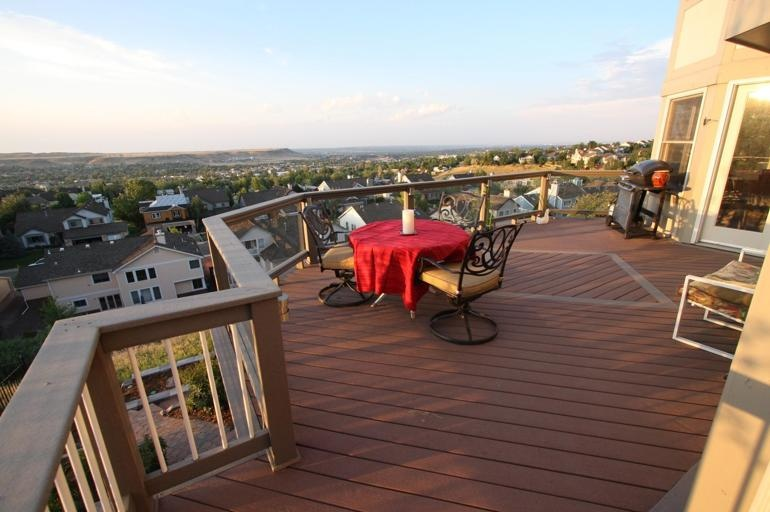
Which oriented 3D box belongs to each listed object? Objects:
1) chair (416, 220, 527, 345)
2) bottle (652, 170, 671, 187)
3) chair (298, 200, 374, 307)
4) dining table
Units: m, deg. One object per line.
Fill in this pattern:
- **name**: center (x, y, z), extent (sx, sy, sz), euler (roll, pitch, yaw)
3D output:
- **chair**: center (0.861, 0.224, 4.602), extent (1.181, 1.087, 1.032), euler (-1, 9, 9)
- **bottle**: center (4.192, -1.180, 6.692), extent (0.281, 0.290, 0.066), euler (-8, 20, -13)
- **chair**: center (-0.470, -0.052, 5.337), extent (0.961, 1.030, 0.832), euler (1, 19, 1)
- **dining table**: center (0.324, 0.010, 4.992), extent (1.339, 0.647, 1.288), euler (-20, 25, -32)
